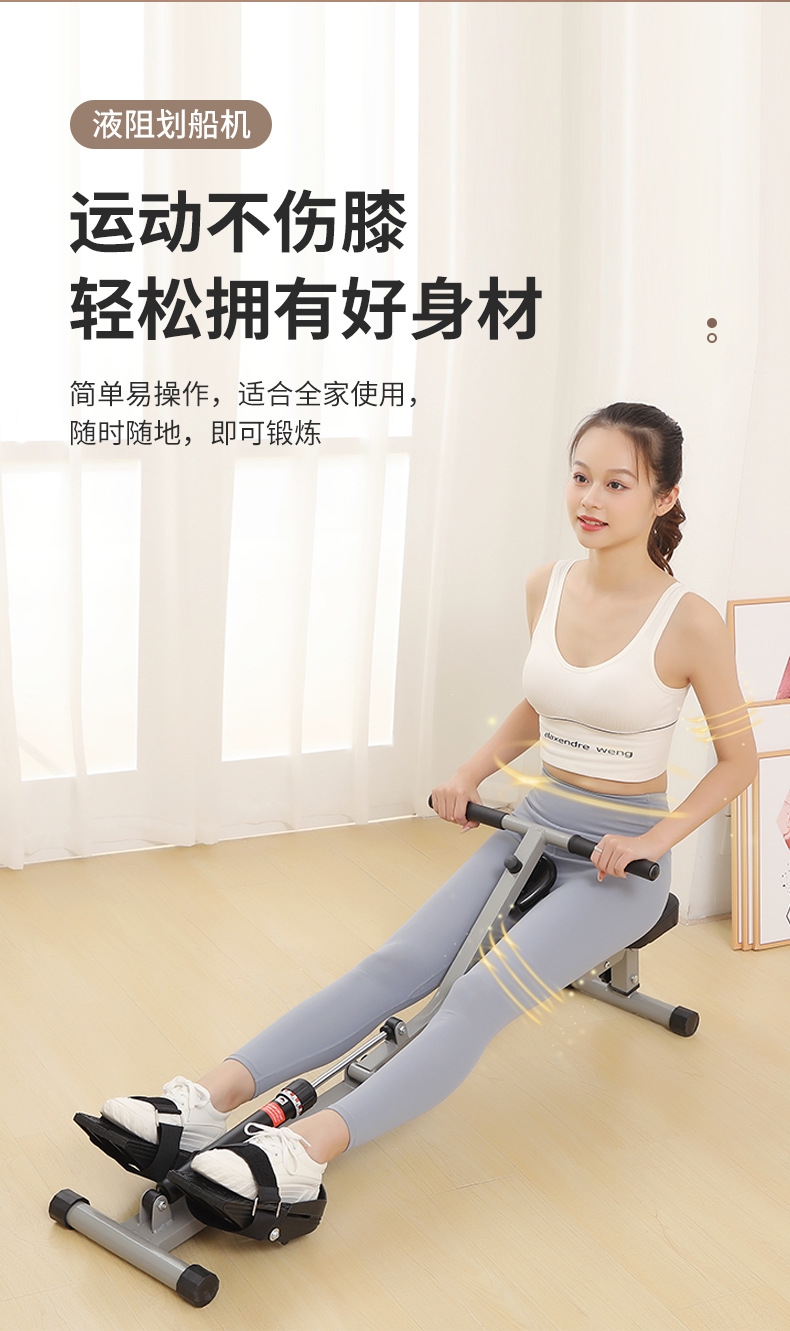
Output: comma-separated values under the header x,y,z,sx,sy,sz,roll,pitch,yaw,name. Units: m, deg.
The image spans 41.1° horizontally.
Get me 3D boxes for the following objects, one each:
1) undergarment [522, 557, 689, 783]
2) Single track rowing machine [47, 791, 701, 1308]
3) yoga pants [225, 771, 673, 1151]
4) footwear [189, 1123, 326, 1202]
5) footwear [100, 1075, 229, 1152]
x,y,z,sx,sy,sz,roll,pitch,yaw,name
0.315,0.005,1.584,0.185,0.328,0.254,-25,32,-36,undergarment
0.017,0.426,1.541,0.987,0.423,0.429,-9,16,-42,Single track rowing machine
0.184,0.380,1.534,0.301,0.220,0.864,13,31,43,yoga pants
-0.151,0.569,1.185,0.136,0.067,0.068,28,2,-41,footwear
-0.276,0.532,1.271,0.129,0.060,0.071,34,-22,-31,footwear
